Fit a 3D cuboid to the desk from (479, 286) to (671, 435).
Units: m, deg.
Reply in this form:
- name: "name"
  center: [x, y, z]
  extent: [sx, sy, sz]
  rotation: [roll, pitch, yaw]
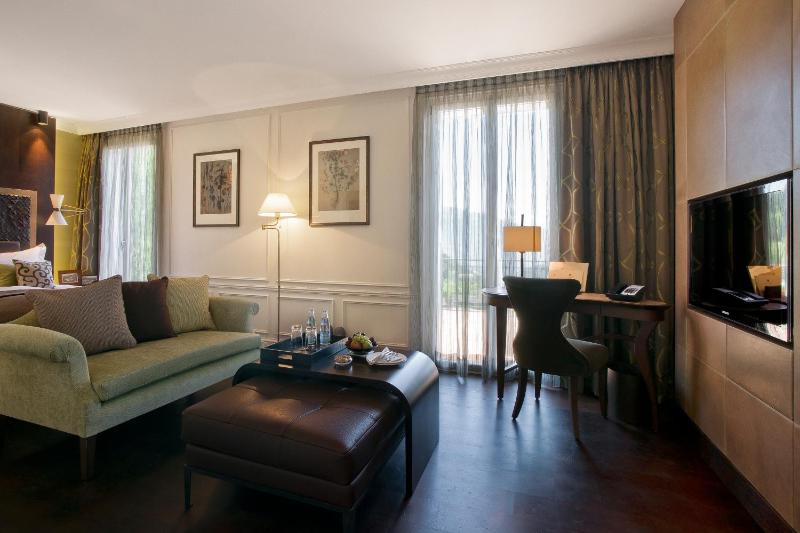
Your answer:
- name: "desk"
  center: [1.404, 0.730, 4.973]
  extent: [0.901, 1.372, 0.800]
  rotation: [-9, 9, -44]

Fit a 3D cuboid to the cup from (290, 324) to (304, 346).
- name: "cup"
  center: [-0.891, 0.587, 4.650]
  extent: [0.108, 0.187, 0.257]
  rotation: [-2, 6, -12]

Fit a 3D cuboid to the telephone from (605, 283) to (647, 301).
- name: "telephone"
  center: [2.057, 0.237, 4.914]
  extent: [0.311, 0.132, 0.229]
  rotation: [1, 6, 19]

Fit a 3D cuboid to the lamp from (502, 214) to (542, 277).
- name: "lamp"
  center: [1.230, -0.206, 5.471]
  extent: [0.355, 0.630, 0.445]
  rotation: [0, 5, 10]

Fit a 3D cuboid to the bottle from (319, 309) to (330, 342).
- name: "bottle"
  center: [-0.656, 0.526, 4.716]
  extent: [0.103, 0.265, 0.279]
  rotation: [-2, 5, -9]

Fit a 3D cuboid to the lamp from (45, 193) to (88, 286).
- name: "lamp"
  center: [-4.400, -0.253, 6.998]
  extent: [0.341, 1.367, 0.679]
  rotation: [6, 3, -7]

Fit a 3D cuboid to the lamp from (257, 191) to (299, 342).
- name: "lamp"
  center: [-1.453, 0.019, 6.537]
  extent: [0.433, 1.806, 0.701]
  rotation: [-2, 5, -15]

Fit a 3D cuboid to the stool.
- name: "stool"
  center: [-0.770, 1.238, 3.810]
  extent: [1.047, 0.592, 1.067]
  rotation: [3, 2, 19]

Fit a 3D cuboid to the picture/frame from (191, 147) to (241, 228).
- name: "picture/frame"
  center: [-2.343, -1.003, 6.905]
  extent: [0.678, 0.958, 0.086]
  rotation: [1, 5, 18]

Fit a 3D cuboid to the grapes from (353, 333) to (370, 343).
- name: "grapes"
  center: [-0.297, 0.605, 4.556]
  extent: [0.112, 0.045, 0.119]
  rotation: [2, -2, -34]

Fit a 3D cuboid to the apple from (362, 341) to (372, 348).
- name: "apple"
  center: [-0.265, 0.655, 4.507]
  extent: [0.056, 0.045, 0.058]
  rotation: [1, 2, -8]
